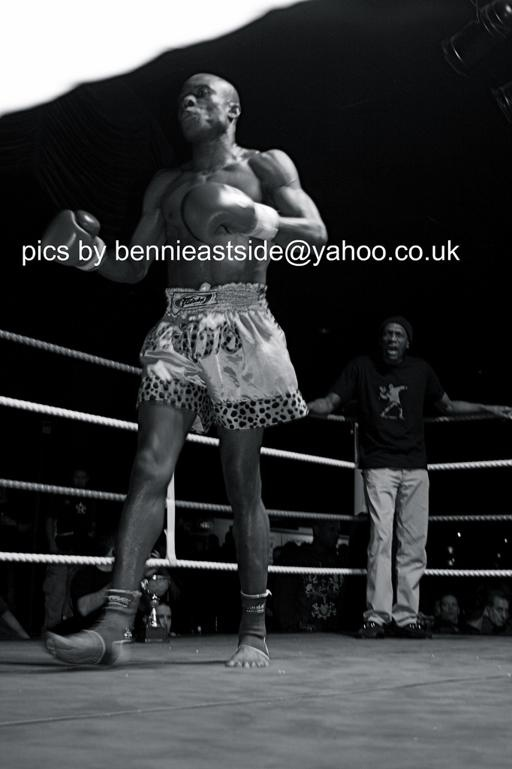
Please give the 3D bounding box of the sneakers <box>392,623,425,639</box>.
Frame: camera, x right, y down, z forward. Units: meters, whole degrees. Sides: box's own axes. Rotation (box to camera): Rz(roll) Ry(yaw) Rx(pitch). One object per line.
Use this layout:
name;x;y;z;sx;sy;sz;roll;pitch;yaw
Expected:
sneakers;0.618;0.993;3.224;0.137;0.049;0.172;1;-5;4

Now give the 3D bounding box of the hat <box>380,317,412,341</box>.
hat;0.650;-0.285;3.699;0.124;0.101;0.128;20;-6;39

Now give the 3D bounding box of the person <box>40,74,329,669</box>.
person;-0.131;-0.092;2.020;0.644;1.506;0.579;2;-5;-14
